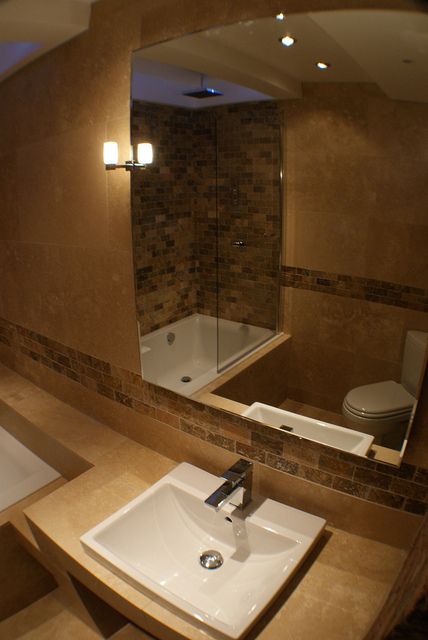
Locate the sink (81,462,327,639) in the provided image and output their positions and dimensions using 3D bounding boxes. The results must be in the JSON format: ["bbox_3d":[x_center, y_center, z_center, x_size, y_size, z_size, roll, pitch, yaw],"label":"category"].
[{"bbox_3d":[-0.029,0.631,1.359,0.557,0.151,0.469,13,17,37],"label":"sink"}]

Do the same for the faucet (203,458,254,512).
[{"bbox_3d":[0.046,0.517,1.405,0.049,0.143,0.182,18,27,34],"label":"faucet"}]
